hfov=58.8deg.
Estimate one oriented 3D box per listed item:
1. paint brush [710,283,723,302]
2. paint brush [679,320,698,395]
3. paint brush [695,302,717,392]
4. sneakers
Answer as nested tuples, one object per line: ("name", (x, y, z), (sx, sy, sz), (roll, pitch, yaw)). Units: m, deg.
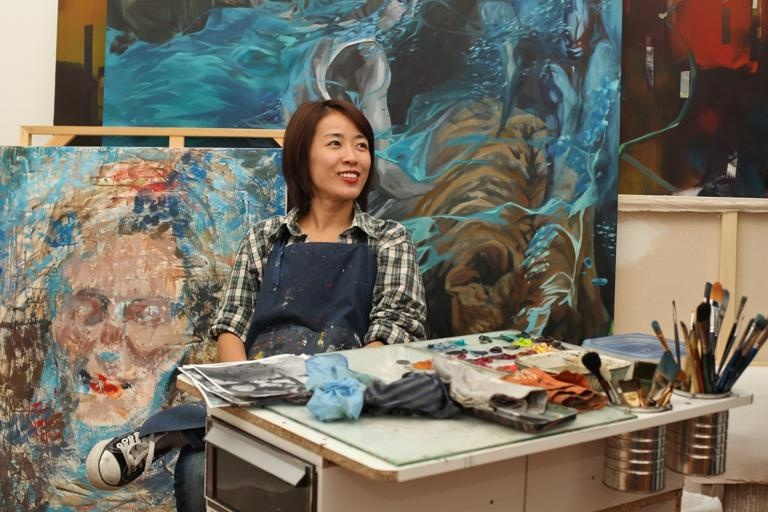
("paint brush", (1.011, 0.113, 2.093), (0.028, 0.085, 0.025), (9, 18, 13))
("paint brush", (0.928, 0.308, 2.074), (0.032, 0.219, 0.038), (-6, -1, -30))
("paint brush", (0.951, 0.269, 2.020), (0.074, 0.264, 0.033), (-2, 6, 6))
("sneakers", (-0.820, 0.653, 2.276), (0.324, 0.116, 0.120), (-21, -1, -34))
